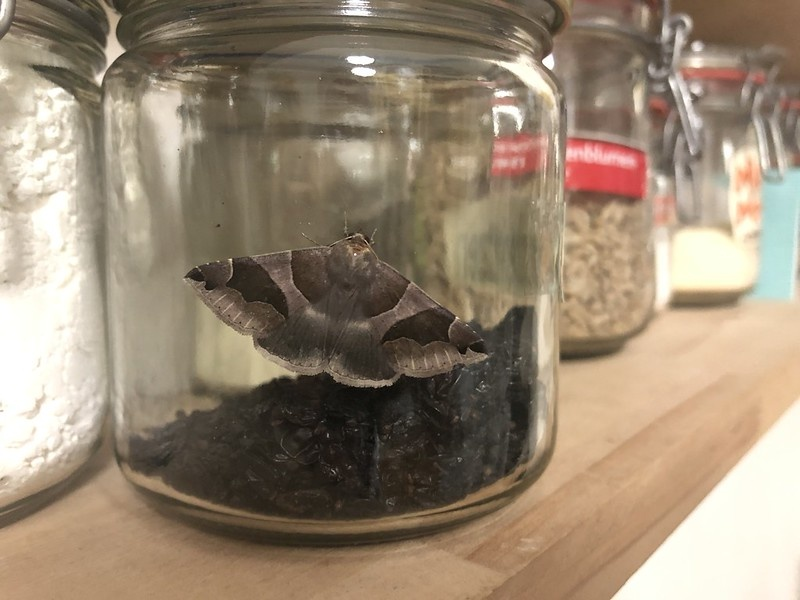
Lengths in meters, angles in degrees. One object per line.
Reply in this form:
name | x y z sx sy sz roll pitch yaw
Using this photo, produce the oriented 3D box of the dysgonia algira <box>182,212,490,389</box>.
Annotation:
dysgonia algira | -0.050 0.008 0.684 0.230 0.108 0.079 -2 11 4
